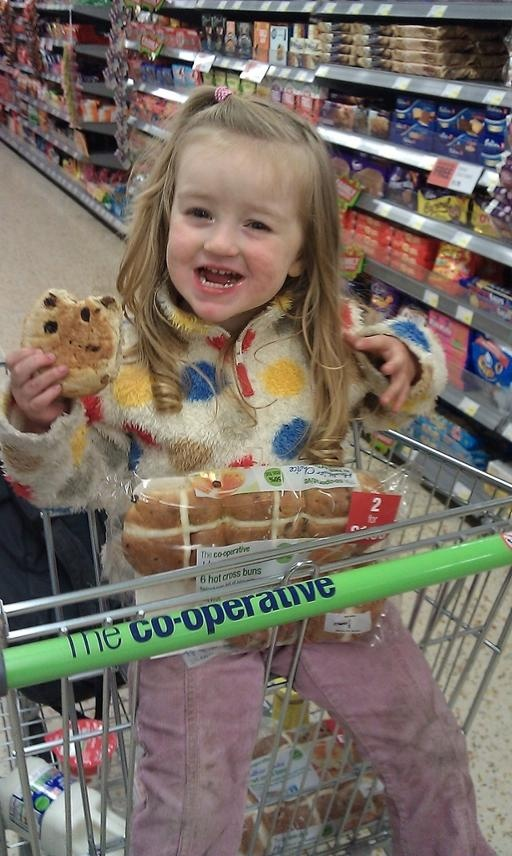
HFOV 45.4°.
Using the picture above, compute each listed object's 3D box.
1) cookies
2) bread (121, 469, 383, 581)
[{"bbox_3d":[-0.200,-0.106,0.679,0.107,0.117,0.041,5,13,-3],"label":"cookies"},{"bbox_3d":[0.000,0.114,0.754,0.320,0.126,0.088,-5,31,-20],"label":"bread"}]
